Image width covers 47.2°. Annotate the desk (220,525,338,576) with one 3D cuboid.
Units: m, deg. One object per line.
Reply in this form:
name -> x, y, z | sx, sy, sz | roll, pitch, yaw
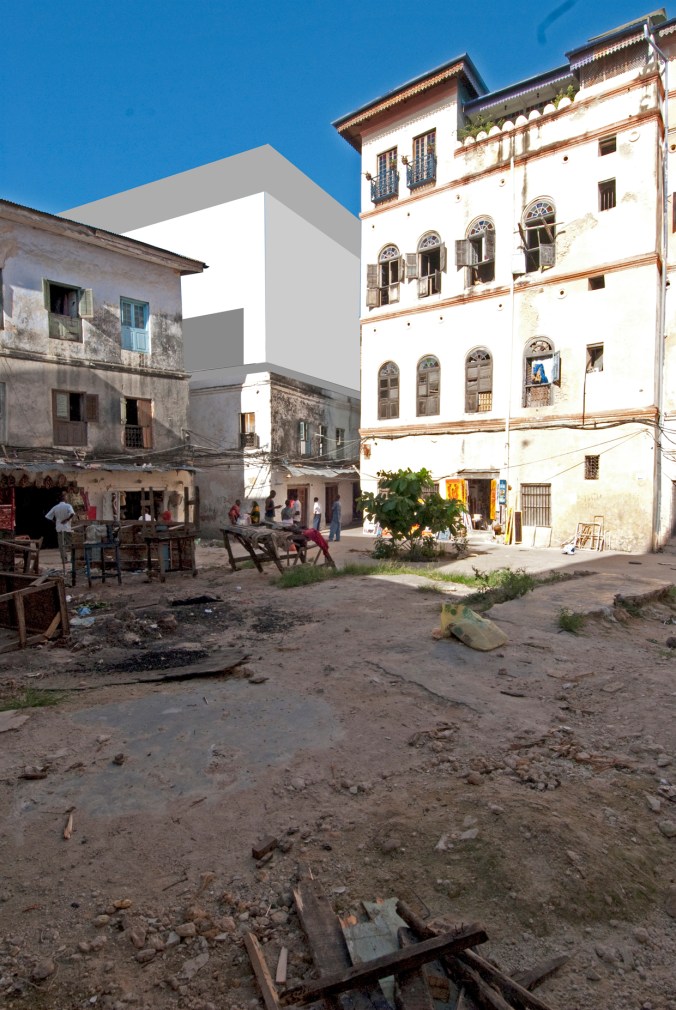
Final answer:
desk -> -1.382, 0.867, 15.972 | 1.652, 0.590, 1.365 | 3, 6, -33
